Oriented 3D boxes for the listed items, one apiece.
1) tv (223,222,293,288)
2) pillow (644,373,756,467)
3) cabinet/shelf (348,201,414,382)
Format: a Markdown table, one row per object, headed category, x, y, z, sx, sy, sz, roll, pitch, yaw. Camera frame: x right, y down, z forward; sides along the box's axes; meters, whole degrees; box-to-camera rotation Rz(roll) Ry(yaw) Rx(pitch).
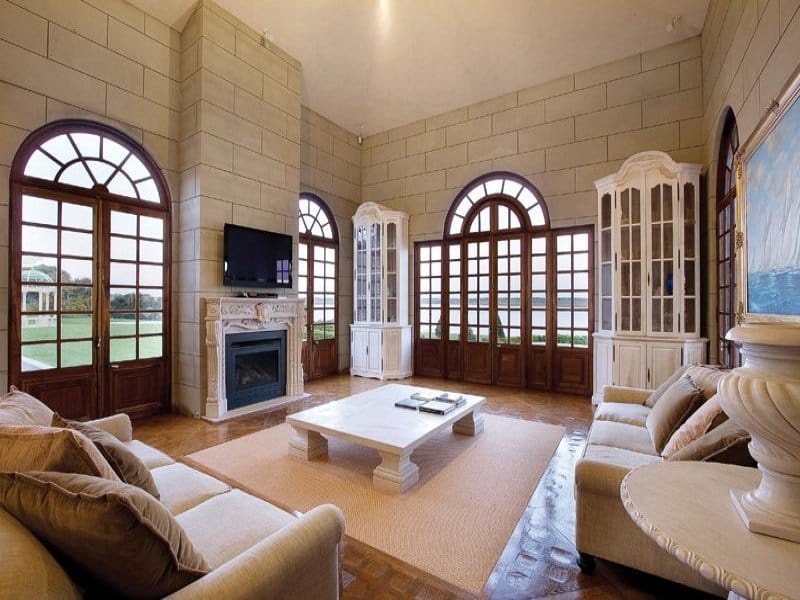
| category | x | y | z | sx | sy | sz | roll | pitch | yaw |
| --- | --- | --- | --- | --- | --- | --- | --- | --- | --- |
| tv | -1.730 | -0.519 | 6.436 | 0.178 | 0.624 | 0.988 | -4 | -2 | 34 |
| pillow | 1.932 | 0.790 | 3.366 | 0.294 | 0.286 | 0.683 | -7 | -2 | 18 |
| cabinet/shelf | -0.335 | -0.155 | 8.135 | 0.965 | 2.489 | 0.462 | -3 | -1 | 5 |
